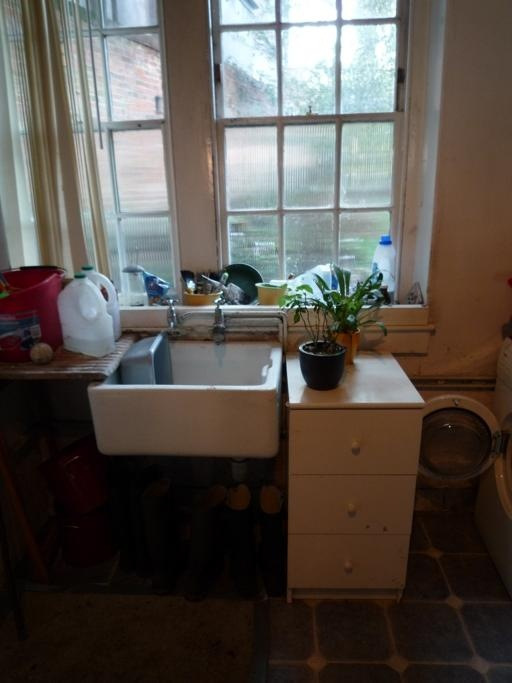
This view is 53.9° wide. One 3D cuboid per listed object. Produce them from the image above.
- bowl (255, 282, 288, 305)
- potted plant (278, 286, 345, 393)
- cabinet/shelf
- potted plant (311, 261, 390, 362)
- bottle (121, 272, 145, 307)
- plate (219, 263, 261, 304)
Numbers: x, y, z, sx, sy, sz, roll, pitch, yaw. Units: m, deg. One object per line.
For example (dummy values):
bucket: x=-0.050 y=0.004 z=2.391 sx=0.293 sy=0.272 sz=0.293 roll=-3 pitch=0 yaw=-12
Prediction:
bowl: x=0.050 y=-0.181 z=1.833 sx=0.093 sy=0.072 sz=0.092 roll=2 pitch=25 yaw=-1
potted plant: x=0.173 y=-0.004 z=1.565 sx=0.184 sy=0.358 sz=0.210 roll=-12 pitch=23 yaw=-10
cabinet/shelf: x=0.272 y=0.438 z=1.637 sx=0.495 sy=0.705 sz=0.506 roll=-8 pitch=20 yaw=-25
potted plant: x=0.270 y=-0.123 z=1.680 sx=0.282 sy=0.305 sz=0.293 roll=15 pitch=31 yaw=37
bottle: x=-0.455 y=-0.193 z=1.865 sx=0.100 sy=0.120 sz=0.026 roll=7 pitch=21 yaw=25
plate: x=-0.047 y=-0.212 z=1.888 sx=0.143 sy=0.140 sz=0.132 roll=-3 pitch=20 yaw=-2
